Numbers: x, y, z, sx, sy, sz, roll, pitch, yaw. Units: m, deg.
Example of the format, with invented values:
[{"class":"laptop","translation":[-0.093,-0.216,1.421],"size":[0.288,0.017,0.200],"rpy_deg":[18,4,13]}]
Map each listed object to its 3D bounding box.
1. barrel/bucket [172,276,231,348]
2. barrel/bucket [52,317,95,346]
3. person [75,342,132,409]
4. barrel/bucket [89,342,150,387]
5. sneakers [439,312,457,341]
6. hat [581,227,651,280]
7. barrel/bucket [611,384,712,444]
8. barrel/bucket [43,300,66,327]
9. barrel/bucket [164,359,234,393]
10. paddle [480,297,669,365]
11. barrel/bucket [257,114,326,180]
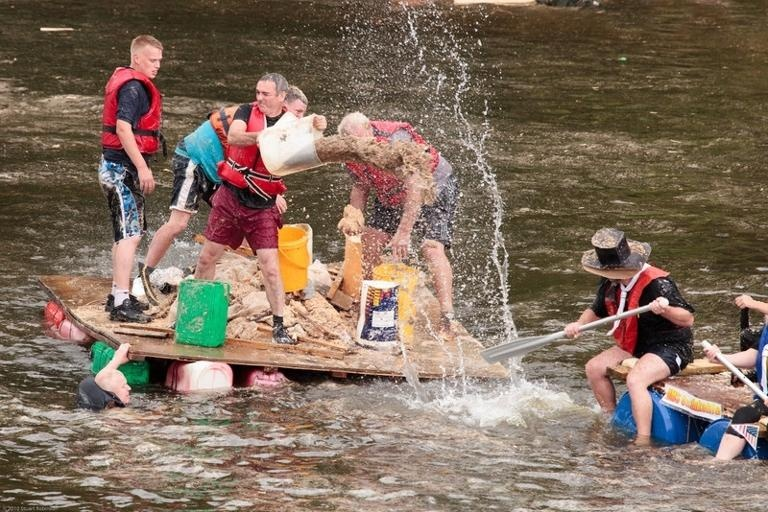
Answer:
[{"class":"barrel/bucket","translation":[-2.250,0.707,17.363],"size":[0.646,0.799,0.446],"rpy_deg":[5,21,-7]},{"class":"barrel/bucket","translation":[-3.977,0.993,17.803],"size":[0.449,0.154,0.354],"rpy_deg":[16,-6,22]},{"class":"person","translation":[-3.350,1.453,16.785],"size":[0.625,0.679,0.621],"rpy_deg":[4,20,-11]},{"class":"barrel/bucket","translation":[-3.230,1.337,17.436],"size":[0.832,0.273,0.643],"rpy_deg":[13,-3,28]},{"class":"sneakers","translation":[0.842,0.920,18.164],"size":[0.248,0.320,0.144],"rpy_deg":[-6,-2,29]},{"class":"hat","translation":[2.817,-0.078,16.802],"size":[0.855,0.278,0.700],"rpy_deg":[-29,32,-24]},{"class":"barrel/bucket","translation":[3.385,1.953,16.869],"size":[0.886,0.673,0.795],"rpy_deg":[4,12,30]},{"class":"barrel/bucket","translation":[-4.232,0.751,17.980],"size":[0.184,0.279,0.219],"rpy_deg":[-34,69,-31]},{"class":"barrel/bucket","translation":[-2.152,1.465,17.316],"size":[0.954,0.432,0.570],"rpy_deg":[6,0,45]},{"class":"paddle","translation":[2.471,0.992,17.708],"size":[2.785,0.260,0.104],"rpy_deg":[-16,-28,10]},{"class":"barrel/bucket","translation":[-1.190,-1.368,17.132],"size":[0.956,0.704,0.698],"rpy_deg":[-11,-4,2]}]
